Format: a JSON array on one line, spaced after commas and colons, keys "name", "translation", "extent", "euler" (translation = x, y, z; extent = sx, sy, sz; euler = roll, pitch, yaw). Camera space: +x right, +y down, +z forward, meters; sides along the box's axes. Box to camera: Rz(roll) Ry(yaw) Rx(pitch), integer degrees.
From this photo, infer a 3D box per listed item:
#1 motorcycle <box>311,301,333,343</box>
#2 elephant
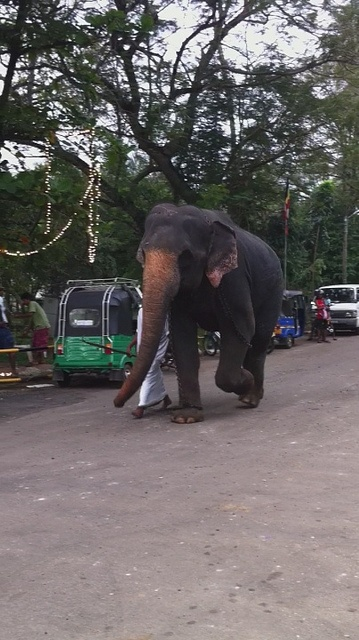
[{"name": "motorcycle", "translation": [6.210, -0.064, 26.205], "extent": [0.751, 1.593, 3.099], "euler": [-2, -2, 12]}, {"name": "elephant", "translation": [0.318, -0.109, 7.806], "extent": [1.054, 1.888, 3.229], "euler": [-2, -2, 26]}]
